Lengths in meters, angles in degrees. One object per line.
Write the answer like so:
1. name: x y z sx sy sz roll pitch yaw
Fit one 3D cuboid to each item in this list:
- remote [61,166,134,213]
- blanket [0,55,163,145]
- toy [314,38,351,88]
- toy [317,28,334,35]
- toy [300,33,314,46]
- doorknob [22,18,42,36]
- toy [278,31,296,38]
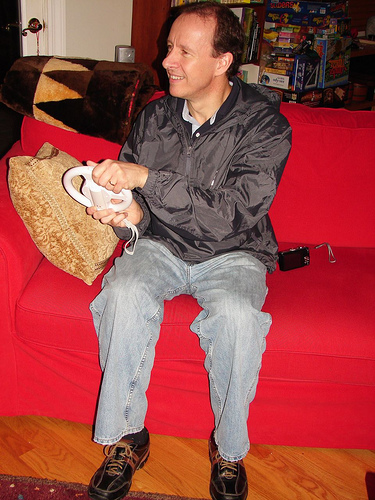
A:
1. remote: -0.220 -0.147 1.007 0.156 0.041 0.149 9 -31 12
2. blanket: -0.365 -0.521 1.489 0.482 0.168 0.289 15 54 6
3. toy: 1.423 -1.890 4.123 0.194 0.447 0.540 25 42 37
4. toy: 1.315 -2.086 3.939 0.158 0.063 0.063 10 11 18
5. toy: 1.124 -1.978 3.887 0.122 0.116 0.088 9 11 11
6. doorknob: -1.023 -1.465 2.703 0.128 0.111 0.080 6 11 -3
7. toy: 0.968 -2.090 4.026 0.128 0.070 0.029 0 -7 14
